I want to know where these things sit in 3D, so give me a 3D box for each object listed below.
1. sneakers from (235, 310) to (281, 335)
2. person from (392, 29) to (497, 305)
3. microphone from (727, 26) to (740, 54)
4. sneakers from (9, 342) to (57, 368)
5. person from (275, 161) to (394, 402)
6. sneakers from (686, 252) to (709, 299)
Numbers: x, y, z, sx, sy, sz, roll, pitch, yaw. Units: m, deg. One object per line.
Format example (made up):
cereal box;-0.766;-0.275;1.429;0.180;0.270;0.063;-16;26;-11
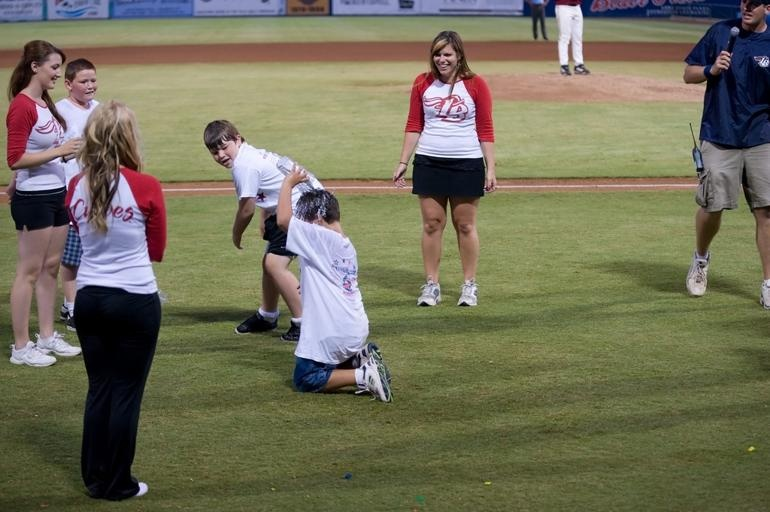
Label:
sneakers;-1.042;0.558;8.456;0.400;0.128;0.151;-1;13;-18
person;0.525;-0.750;8.924;0.852;2.357;0.535;1;14;4
microphone;2.926;-1.825;8.639;0.098;0.221;0.283;5;13;18
sneakers;-2.666;0.752;7.796;0.420;0.146;0.153;3;8;1
person;-0.341;0.200;7.332;0.870;1.648;0.389;8;16;29
sneakers;2.759;0.166;9.131;0.177;0.381;0.202;4;-11;10
